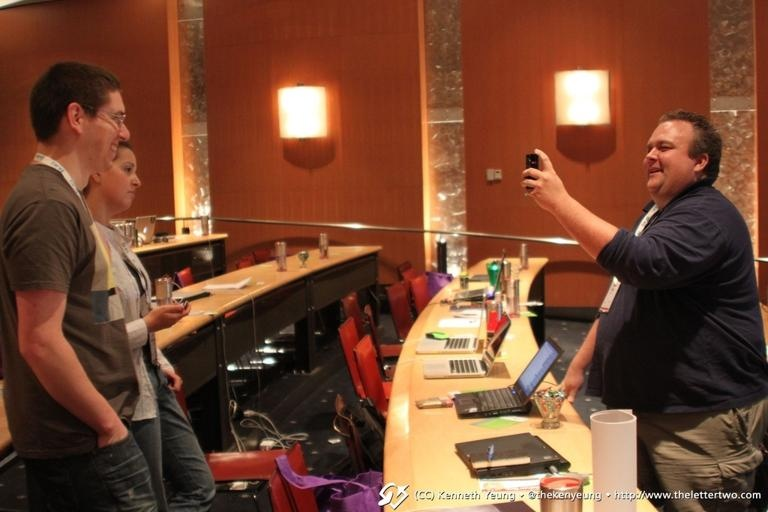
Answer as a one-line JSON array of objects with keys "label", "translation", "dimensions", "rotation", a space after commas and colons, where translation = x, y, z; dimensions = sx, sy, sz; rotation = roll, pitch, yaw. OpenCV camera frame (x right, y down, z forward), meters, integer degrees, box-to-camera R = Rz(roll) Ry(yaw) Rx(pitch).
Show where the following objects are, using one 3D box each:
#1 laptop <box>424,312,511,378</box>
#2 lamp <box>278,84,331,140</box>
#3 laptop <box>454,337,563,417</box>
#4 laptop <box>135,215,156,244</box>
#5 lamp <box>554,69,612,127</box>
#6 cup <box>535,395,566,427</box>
[{"label": "laptop", "translation": [0.429, 0.474, 3.312], "dimensions": [0.353, 0.214, 0.351], "rotation": [0, 2, 5]}, {"label": "lamp", "translation": [-1.030, -1.839, 7.878], "dimensions": [0.666, 0.707, 0.638], "rotation": [-1, 10, -2]}, {"label": "laptop", "translation": [0.563, 0.545, 2.822], "dimensions": [0.429, 0.257, 0.316], "rotation": [0, -1, -3]}, {"label": "laptop", "translation": [-2.761, -0.299, 7.133], "dimensions": [0.229, 0.312, 0.330], "rotation": [5, 9, 26]}, {"label": "lamp", "translation": [2.238, -1.789, 7.012], "dimensions": [0.632, 0.620, 0.150], "rotation": [0, 7, 8]}, {"label": "cup", "translation": [0.699, 0.659, 2.631], "dimensions": [0.130, 0.119, 0.124], "rotation": [-1, 2, 0]}]
